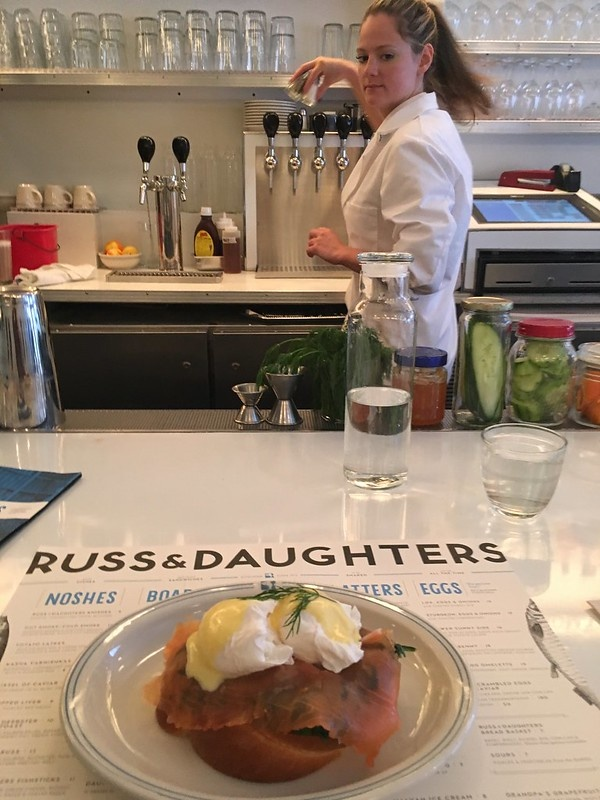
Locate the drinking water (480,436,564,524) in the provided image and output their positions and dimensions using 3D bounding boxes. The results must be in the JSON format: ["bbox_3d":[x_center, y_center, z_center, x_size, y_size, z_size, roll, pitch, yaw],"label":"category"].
[{"bbox_3d":[0.249,0.080,0.723,0.104,0.109,0.100,1,16,1],"label":"drinking water"}]

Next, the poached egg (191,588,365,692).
[{"bbox_3d":[-0.014,0.126,0.379,0.081,0.043,0.068,-15,24,-43],"label":"poached egg"}]
